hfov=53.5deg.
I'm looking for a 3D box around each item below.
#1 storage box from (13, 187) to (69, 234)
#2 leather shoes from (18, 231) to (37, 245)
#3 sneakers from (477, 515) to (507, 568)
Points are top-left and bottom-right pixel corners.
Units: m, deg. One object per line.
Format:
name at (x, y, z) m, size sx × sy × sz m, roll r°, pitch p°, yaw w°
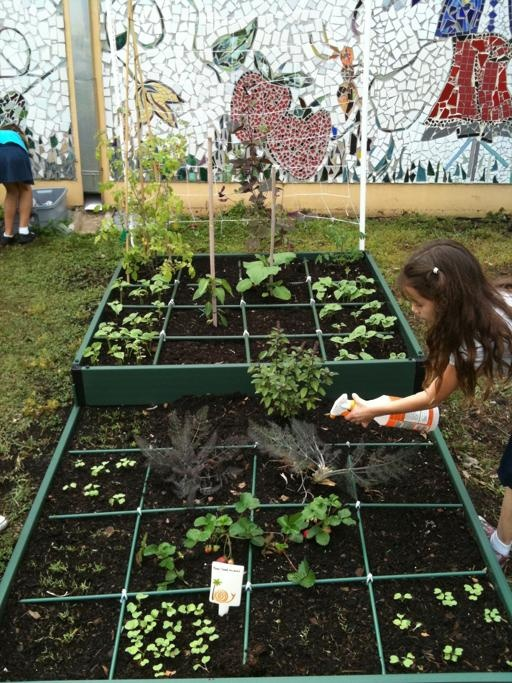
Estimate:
storage box at (-2.287, -1.457, 5.604) m, size 0.453 × 0.228 × 0.563 m, roll 0°, pitch 24°, yaw -1°
leather shoes at (-2.351, -1.056, 5.204) m, size 0.083 × 0.094 × 0.232 m, roll 8°, pitch 25°, yaw 9°
sneakers at (0.867, 0.753, 1.925) m, size 0.073 × 0.119 × 0.183 m, roll -10°, pitch 55°, yaw 0°
